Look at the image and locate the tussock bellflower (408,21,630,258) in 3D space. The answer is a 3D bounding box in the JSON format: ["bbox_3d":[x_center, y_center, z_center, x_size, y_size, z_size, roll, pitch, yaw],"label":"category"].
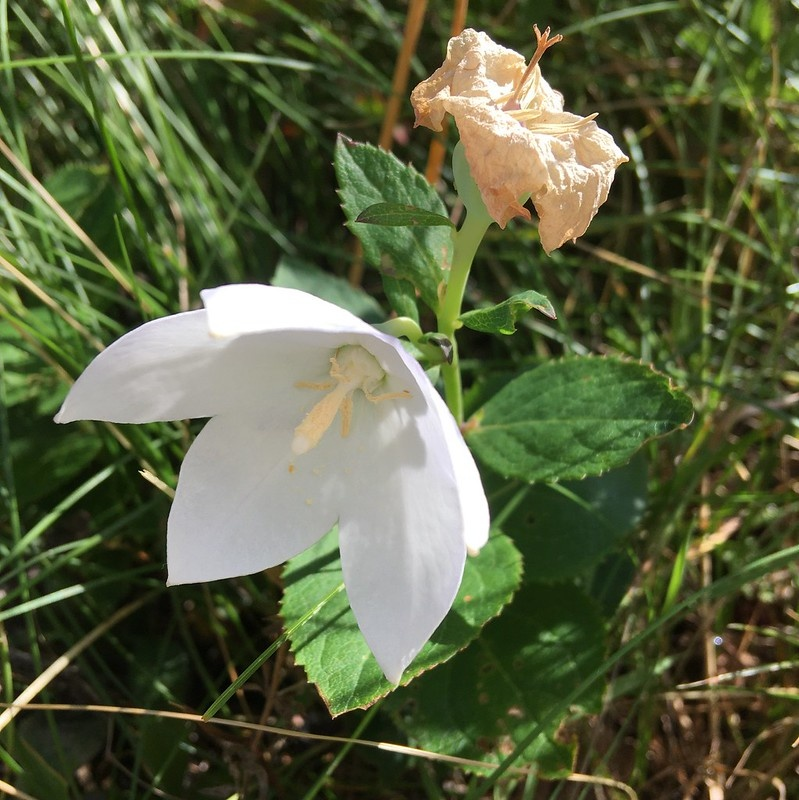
[{"bbox_3d":[0.116,-0.351,1.369,0.366,0.246,0.313,24,45,-28],"label":"tussock bellflower"}]
